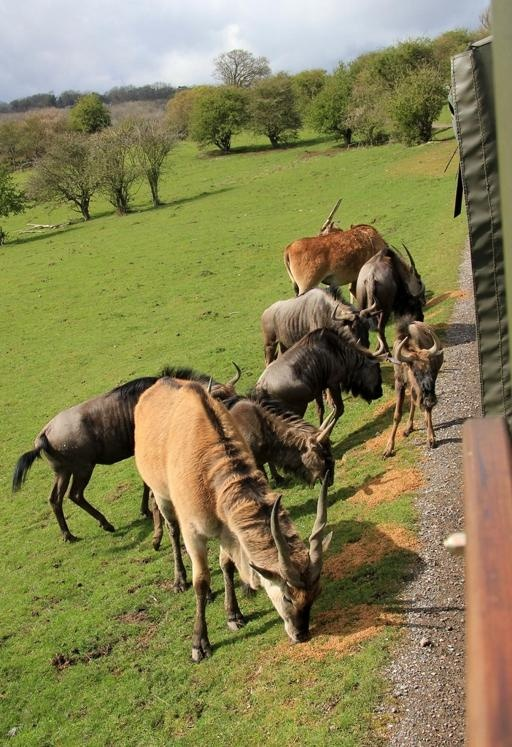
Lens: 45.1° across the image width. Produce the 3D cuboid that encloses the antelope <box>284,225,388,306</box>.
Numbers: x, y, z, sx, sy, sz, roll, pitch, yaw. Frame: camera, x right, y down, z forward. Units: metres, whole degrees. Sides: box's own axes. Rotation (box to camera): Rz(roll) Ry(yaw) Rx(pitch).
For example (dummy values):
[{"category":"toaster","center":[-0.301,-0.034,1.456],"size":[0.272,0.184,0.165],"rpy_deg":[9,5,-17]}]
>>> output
[{"category":"antelope","center":[2.091,-2.604,15.573],"size":[3.097,2.305,1.102],"rpy_deg":[-13,11,-29]}]

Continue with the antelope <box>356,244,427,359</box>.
[{"category":"antelope","center":[2.829,-1.726,12.798],"size":[0.985,2.247,2.991],"rpy_deg":[3,17,22]}]

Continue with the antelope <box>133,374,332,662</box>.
[{"category":"antelope","center":[-0.336,1.615,6.673],"size":[0.908,2.801,3.247],"rpy_deg":[-15,13,-24]}]
